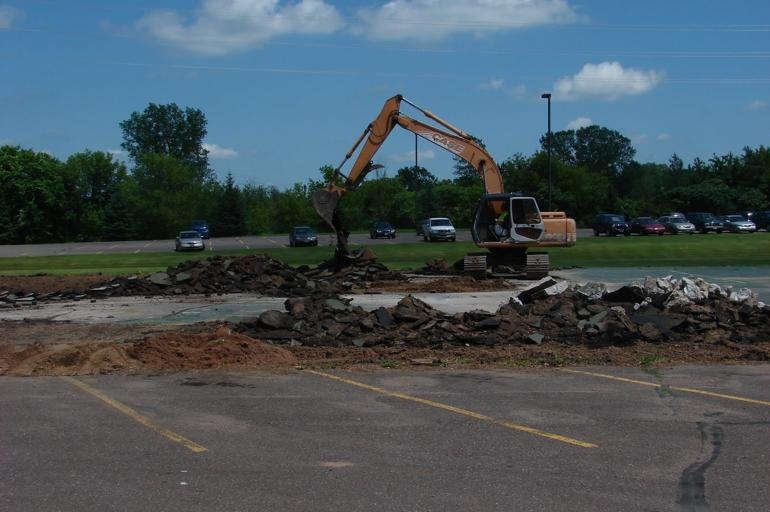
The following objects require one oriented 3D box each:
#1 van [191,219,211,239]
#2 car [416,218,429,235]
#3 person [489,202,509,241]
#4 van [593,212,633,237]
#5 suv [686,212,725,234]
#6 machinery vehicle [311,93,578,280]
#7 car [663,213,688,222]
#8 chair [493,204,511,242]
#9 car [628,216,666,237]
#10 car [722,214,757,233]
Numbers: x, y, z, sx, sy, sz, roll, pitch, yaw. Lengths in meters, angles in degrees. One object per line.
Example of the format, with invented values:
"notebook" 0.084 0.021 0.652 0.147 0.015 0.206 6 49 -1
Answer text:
"van" -19.316 -2.990 75.347 2.478 1.866 4.025 0 -6 -9
"car" 3.794 -2.942 70.275 1.148 0.855 1.704 0 -4 -3
"person" 4.848 -1.434 28.829 1.067 1.565 0.825 -1 7 32
"van" 19.738 -2.614 61.661 1.745 1.190 3.006 0 -2 -18
"suv" 28.654 -2.990 62.485 1.786 1.203 2.862 0 -1 -15
"machinery vehicle" 2.622 -2.670 29.592 11.350 5.669 3.923 2 10 -11
"car" 25.950 -3.489 63.712 1.268 0.816 1.781 0 -5 -12
"chair" 4.744 -1.428 28.731 0.706 1.490 0.776 0 7 10
"car" 22.719 -2.553 61.040 2.838 1.377 3.046 -4 7 -32
"car" 30.219 -2.682 61.002 1.696 1.056 3.323 -1 -2 -6
